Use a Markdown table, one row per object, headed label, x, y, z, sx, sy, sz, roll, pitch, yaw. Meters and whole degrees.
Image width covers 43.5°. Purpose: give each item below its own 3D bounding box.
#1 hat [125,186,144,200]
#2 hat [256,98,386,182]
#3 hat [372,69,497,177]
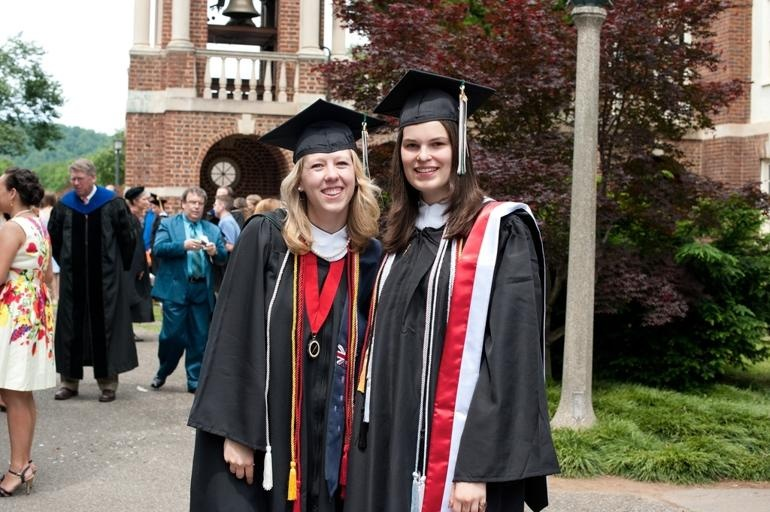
| label | x | y | z | sx | sy | sz | roll | pitch | yaw |
| --- | --- | --- | --- | --- | --- | --- | --- | --- | --- |
| hat | -3.918 | -0.993 | 14.982 | 0.246 | 0.099 | 0.275 | -23 | 1 | 33 |
| hat | -0.581 | -0.997 | 8.274 | 0.948 | 0.270 | 0.863 | -9 | -16 | -9 |
| hat | 0.366 | -1.072 | 8.092 | 0.911 | 0.825 | 0.936 | 1 | 2 | 42 |
